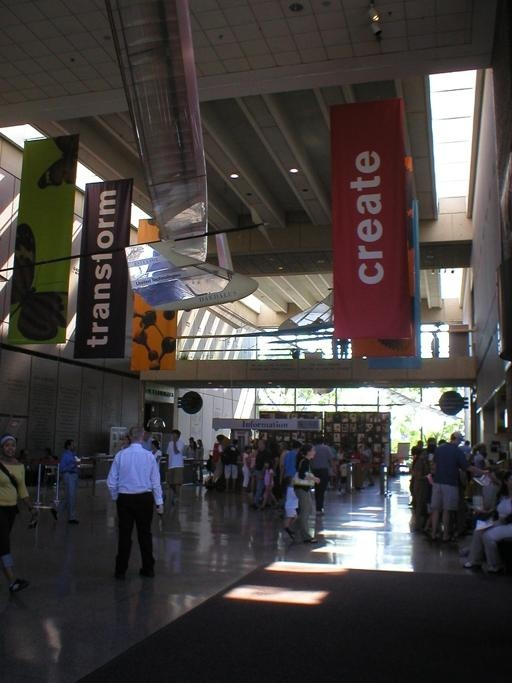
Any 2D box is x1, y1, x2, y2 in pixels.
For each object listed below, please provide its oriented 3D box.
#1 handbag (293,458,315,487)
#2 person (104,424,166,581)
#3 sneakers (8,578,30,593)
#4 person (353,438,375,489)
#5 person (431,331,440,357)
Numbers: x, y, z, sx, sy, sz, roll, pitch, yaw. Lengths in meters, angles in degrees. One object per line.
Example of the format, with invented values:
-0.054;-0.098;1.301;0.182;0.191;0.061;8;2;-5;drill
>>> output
0.649;1.775;7.469;0.308;0.388;0.346;0;-6;5;handbag
-1.163;1.541;5.356;0.505;1.427;0.633;2;-7;-12;person
-1.981;2.026;4.656;0.083;0.075;0.173;2;5;11;sneakers
3.600;4.298;19.013;0.440;1.209;0.390;-6;14;-16;person
6.231;0.131;19.309;0.296;0.973;0.224;-1;-7;16;person
